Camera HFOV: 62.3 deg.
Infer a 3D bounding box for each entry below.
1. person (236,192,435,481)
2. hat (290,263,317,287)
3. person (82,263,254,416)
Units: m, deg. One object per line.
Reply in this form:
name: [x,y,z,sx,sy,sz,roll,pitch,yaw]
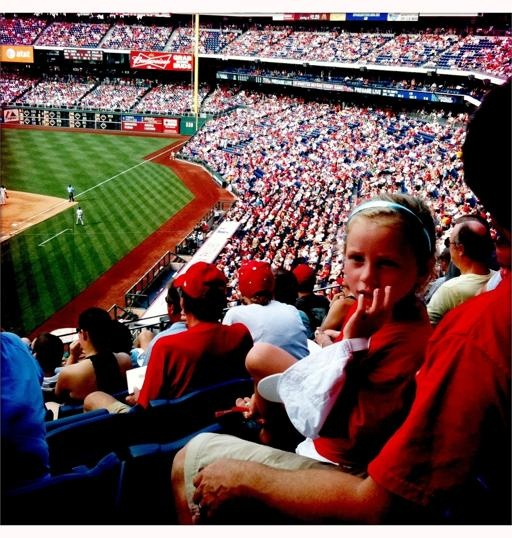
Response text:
person: [0.313,0.247,1.559,0.705,0.951,0.458,1,10,-6]
hat: [0.457,0.043,4.082,0.170,0.114,0.234,1,29,17]
person: [-0.510,0.422,2.581,0.656,0.903,1.002,2,-2,-42]
